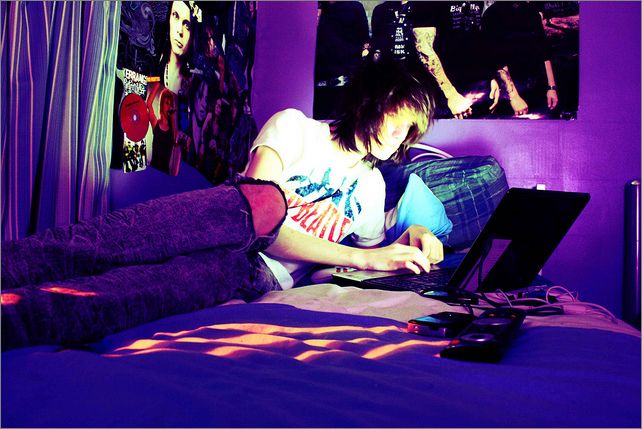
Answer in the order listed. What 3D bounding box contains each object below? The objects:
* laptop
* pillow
[{"bbox_3d":[0.493,0.065,1.390,0.423,0.251,0.421,8,4,42],"label":"laptop"},{"bbox_3d":[0.660,-0.127,2.582,0.962,0.645,0.580,1,0,22],"label":"pillow"}]
